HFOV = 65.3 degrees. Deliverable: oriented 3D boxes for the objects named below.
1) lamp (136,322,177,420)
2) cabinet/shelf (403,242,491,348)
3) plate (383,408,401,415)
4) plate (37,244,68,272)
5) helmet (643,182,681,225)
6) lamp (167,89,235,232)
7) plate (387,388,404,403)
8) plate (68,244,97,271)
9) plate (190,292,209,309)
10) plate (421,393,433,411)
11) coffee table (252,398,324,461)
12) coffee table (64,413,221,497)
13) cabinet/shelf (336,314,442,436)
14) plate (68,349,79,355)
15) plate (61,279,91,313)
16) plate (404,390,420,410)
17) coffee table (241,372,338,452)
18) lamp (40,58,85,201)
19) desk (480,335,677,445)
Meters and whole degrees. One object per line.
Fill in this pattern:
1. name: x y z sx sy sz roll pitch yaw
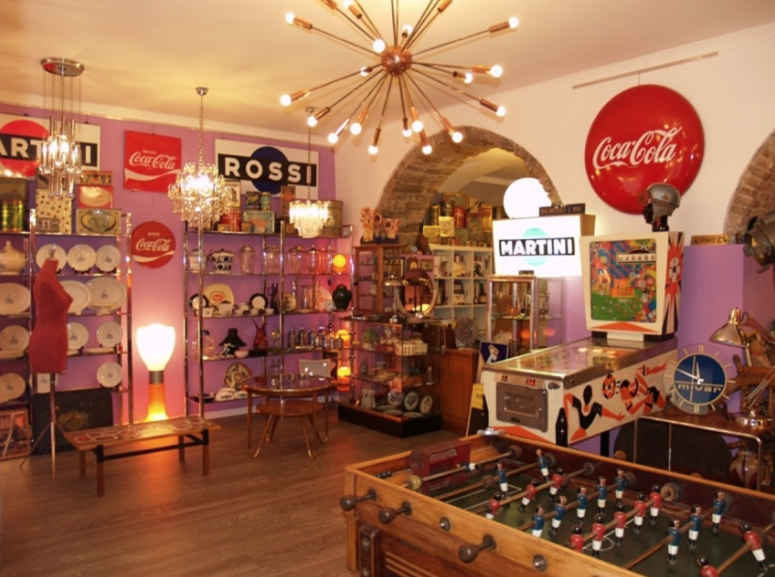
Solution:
1. lamp: -2.857 1.042 7.469 0.423 1.235 0.498 -3 7 -25
2. cabinet/shelf: 0.758 0.097 8.162 0.342 1.468 1.253 -3 -8 44
3. plate: 0.058 1.516 7.382 0.248 0.079 0.059 5 8 37
4. plate: -3.801 -0.354 6.791 0.298 0.293 0.482 -2 7 -17
5. helmet: 2.335 -0.721 5.197 0.330 0.432 0.332 3 4 23
6. lamp: -2.164 -1.479 7.079 0.778 1.569 2.057 -2 7 -18
7. plate: 0.086 1.334 7.435 0.052 0.207 0.247 -6 8 -43
8. plate: -3.534 -0.359 6.987 0.287 0.316 0.224 -5 8 -39
9. plate: -2.375 0.163 7.618 0.244 0.202 0.528 -2 7 -17
10. plate: 0.471 1.424 7.480 0.204 0.215 0.043 -5 8 -40
11. coffee table: -1.123 1.505 6.863 0.662 0.574 0.748 1 -1 4
12. coffee table: -2.609 1.609 6.308 1.317 0.557 1.440 -4 8 -33
13. cabinet/shelf: 0.057 1.115 7.562 0.492 1.385 1.365 1 0 -42
14. plate: -3.559 0.728 6.847 0.093 0.055 0.183 -3 7 -28
15. plate: -3.527 0.092 6.890 0.385 0.370 0.278 5 8 41
16. plate: 0.281 1.380 7.397 0.210 0.238 0.038 -3 7 -28
17. coffee table: -1.113 1.343 6.756 0.831 0.596 0.862 1 2 -8
18. lamp: -3.359 -1.602 6.235 0.460 1.358 2.186 -3 7 -29
19. desk: 1.475 0.729 4.683 1.413 0.537 0.752 -5 5 -40
